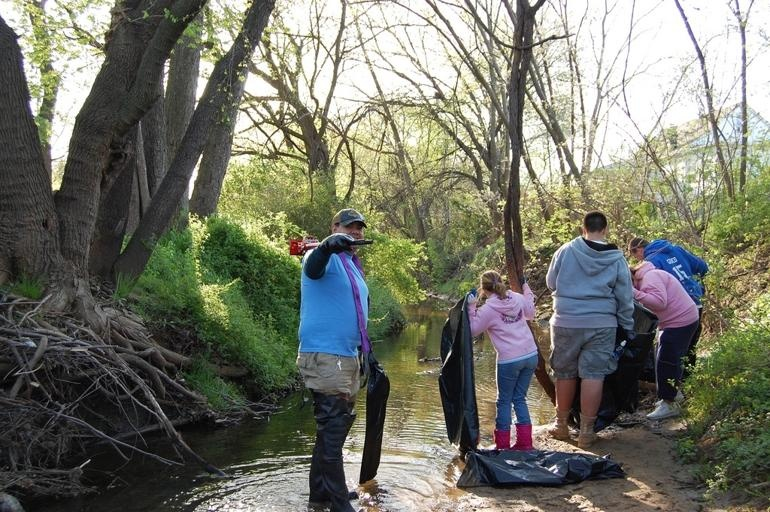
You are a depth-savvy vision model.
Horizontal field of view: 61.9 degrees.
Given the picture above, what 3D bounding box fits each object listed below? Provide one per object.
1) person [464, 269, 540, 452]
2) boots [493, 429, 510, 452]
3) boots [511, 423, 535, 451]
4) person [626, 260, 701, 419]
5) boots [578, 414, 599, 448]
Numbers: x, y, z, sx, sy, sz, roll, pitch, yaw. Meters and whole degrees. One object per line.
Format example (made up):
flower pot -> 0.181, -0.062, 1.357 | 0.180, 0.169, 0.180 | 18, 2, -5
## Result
person -> 1.845, 1.530, 9.682 | 0.985, 2.640, 0.675 | 1, -5, -38
boots -> 1.736, 2.702, 9.458 | 0.241, 0.280, 0.251 | 0, -2, 3
boots -> 2.045, 2.649, 9.496 | 0.272, 0.366, 0.412 | -3, -5, 10
person -> 4.480, 1.309, 10.127 | 0.960, 2.480, 0.582 | -4, -4, 14
boots -> 3.103, 2.586, 9.783 | 0.258, 0.494, 0.635 | 3, 4, 30
